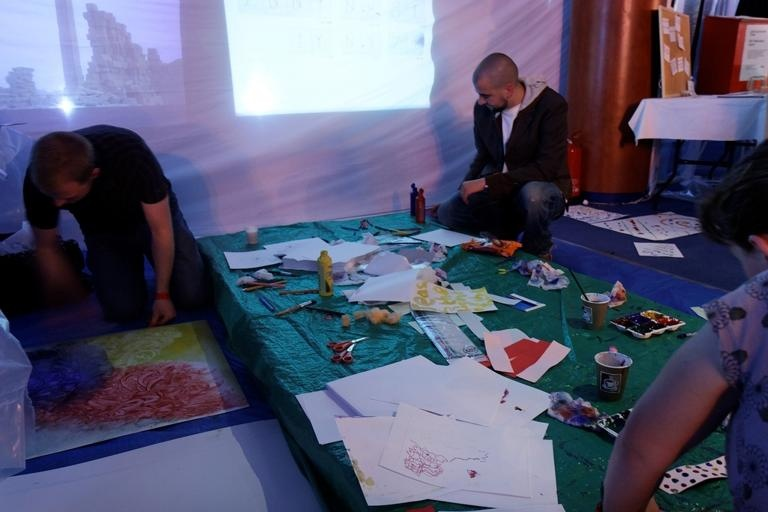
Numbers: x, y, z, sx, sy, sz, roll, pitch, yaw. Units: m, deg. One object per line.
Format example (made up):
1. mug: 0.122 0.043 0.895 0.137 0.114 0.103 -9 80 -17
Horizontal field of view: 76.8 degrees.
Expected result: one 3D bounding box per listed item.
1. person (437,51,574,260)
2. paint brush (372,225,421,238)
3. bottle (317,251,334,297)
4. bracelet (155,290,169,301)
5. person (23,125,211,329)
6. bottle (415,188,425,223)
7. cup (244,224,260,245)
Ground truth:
1. person: 0.856 -0.673 3.368 0.839 1.365 0.621 4 24 20
2. paint brush: 0.095 -0.181 3.499 0.126 0.045 0.215 -6 18 -36
3. bottle: -0.306 0.089 2.467 0.076 0.240 0.061 -8 23 -8
4. bracelet: -1.195 0.218 2.595 0.059 0.038 0.059 4 20 3
5. person: -1.478 -0.171 2.614 0.850 1.027 0.715 -12 24 -18
6. bottle: 0.271 -0.389 3.718 0.073 0.241 0.199 -1 23 8
7. cup: -0.897 -0.150 3.355 0.110 0.123 0.111 -3 17 1
